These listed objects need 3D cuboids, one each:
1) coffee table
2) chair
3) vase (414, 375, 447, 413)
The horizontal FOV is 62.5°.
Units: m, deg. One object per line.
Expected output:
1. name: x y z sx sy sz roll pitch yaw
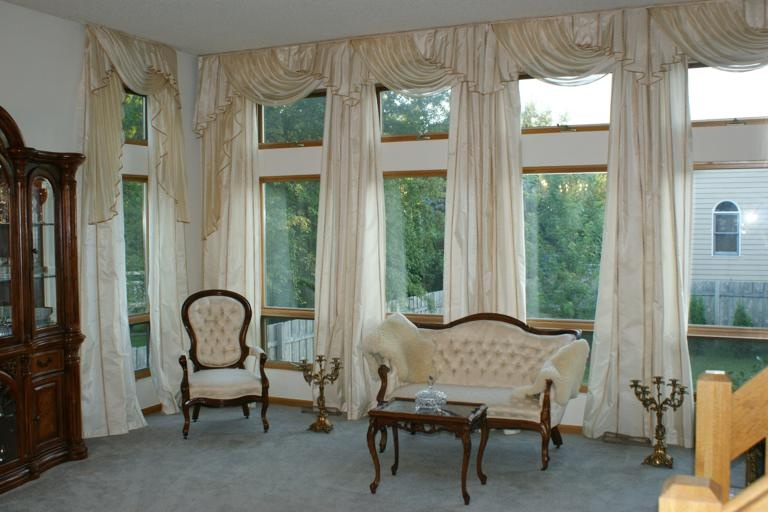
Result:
1. coffee table: 0.476 1.962 6.012 1.139 0.825 0.810 -1 -2 25
2. chair: -1.912 1.237 7.553 0.992 1.519 1.156 -2 8 -14
3. vase: 0.434 1.288 5.996 0.319 0.424 0.323 0 -3 -2
